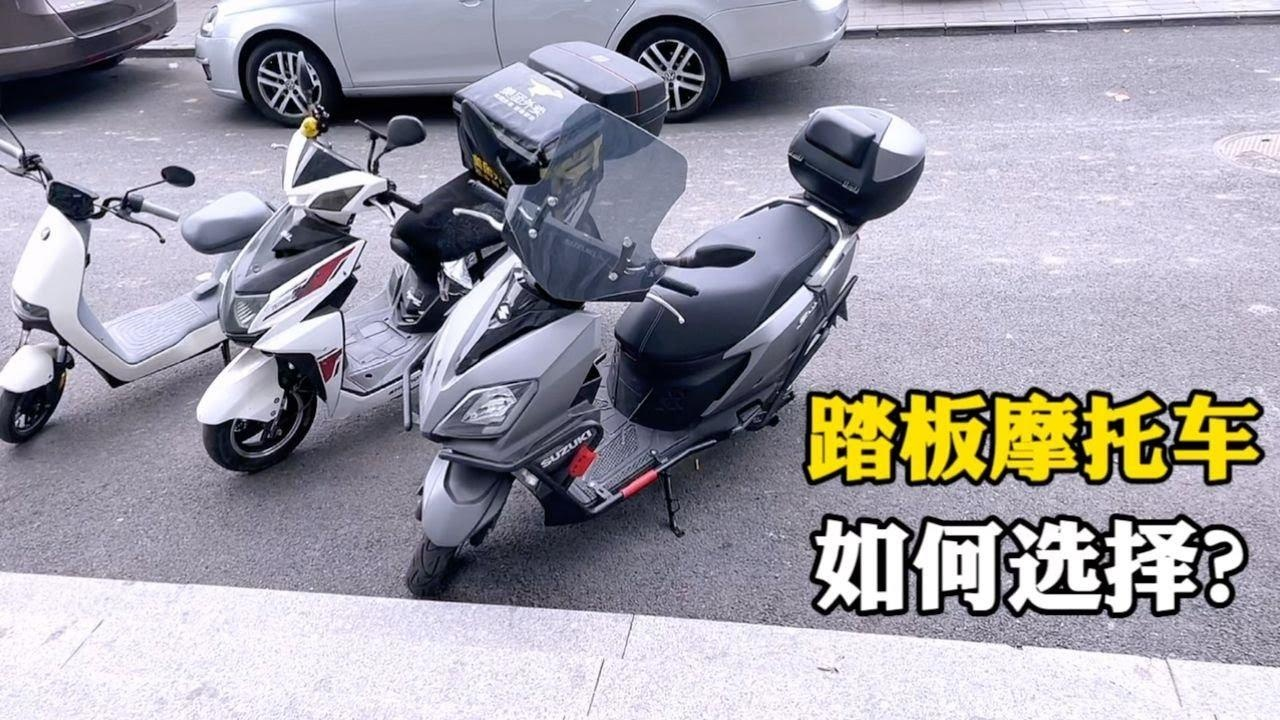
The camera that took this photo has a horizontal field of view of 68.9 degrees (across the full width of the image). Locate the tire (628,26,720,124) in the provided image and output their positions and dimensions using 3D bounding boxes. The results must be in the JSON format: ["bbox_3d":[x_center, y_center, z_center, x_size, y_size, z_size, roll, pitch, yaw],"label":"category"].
[{"bbox_3d":[0.421,-2.994,9.833,1.063,0.918,0.417,11,28,33],"label":"tire"}]

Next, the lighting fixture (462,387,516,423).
[{"bbox_3d":[-0.856,0.269,5.360,0.339,0.163,0.160,-10,37,-18],"label":"lighting fixture"}]

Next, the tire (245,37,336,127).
[{"bbox_3d":[-3.870,-2.957,10.033,0.348,0.895,1.014,9,18,36],"label":"tire"}]

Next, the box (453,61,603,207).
[{"bbox_3d":[-0.645,-1.313,5.557,0.656,0.557,0.856,-27,53,-24],"label":"box"}]

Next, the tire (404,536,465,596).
[{"bbox_3d":[-1.230,1.286,5.639,0.331,0.157,0.394,-3,67,40],"label":"tire"}]
